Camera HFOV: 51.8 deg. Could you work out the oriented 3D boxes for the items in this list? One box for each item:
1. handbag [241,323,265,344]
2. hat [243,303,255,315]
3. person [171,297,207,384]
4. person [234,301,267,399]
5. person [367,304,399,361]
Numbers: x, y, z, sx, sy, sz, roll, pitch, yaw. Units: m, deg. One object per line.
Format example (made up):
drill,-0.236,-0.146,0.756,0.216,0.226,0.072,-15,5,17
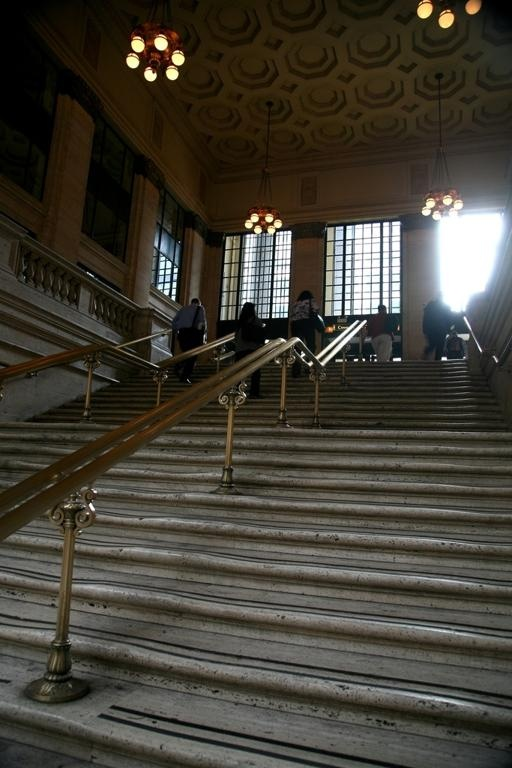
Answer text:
handbag,-0.052,-0.589,6.140,0.191,0.194,0.108,4,-17,-21
hat,-0.092,-0.878,6.223,0.101,0.145,0.145,2,-50,6
person,-1.022,-0.686,8.073,0.502,1.259,1.368,-3,7,-9
person,-0.079,-0.401,6.182,0.330,1.095,0.640,-2,7,-2
person,2.316,-0.927,9.619,0.472,0.985,0.828,-1,7,10
